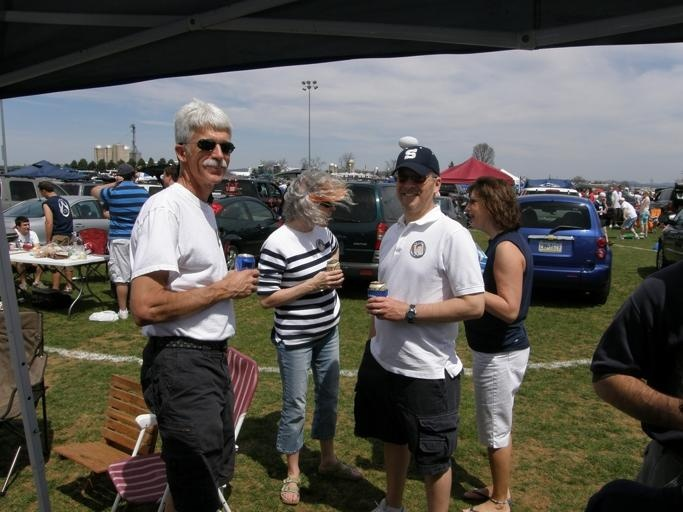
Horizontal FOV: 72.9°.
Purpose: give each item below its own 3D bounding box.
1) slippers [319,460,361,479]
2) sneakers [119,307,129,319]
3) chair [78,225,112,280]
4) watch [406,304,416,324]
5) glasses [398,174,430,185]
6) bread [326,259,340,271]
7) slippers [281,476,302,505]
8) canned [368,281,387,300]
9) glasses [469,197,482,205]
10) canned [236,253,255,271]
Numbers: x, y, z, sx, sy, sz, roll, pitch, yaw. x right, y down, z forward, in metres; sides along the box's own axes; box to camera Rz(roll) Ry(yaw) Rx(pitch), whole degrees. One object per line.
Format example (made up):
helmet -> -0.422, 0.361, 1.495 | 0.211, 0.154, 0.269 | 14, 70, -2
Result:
slippers -> -0.011, 1.680, 3.707 | 0.299, 0.132, 0.148 | 1, 2, 3
sneakers -> -3.465, 0.908, 7.305 | 0.096, 0.092, 0.211 | -1, 6, -16
chair -> -4.998, -0.202, 9.295 | 0.765, 1.296, 0.348 | -1, 4, -28
watch -> 0.413, 0.340, 2.725 | 0.056, 0.102, 0.039 | 2, 10, 11
glasses -> 0.453, -0.471, 2.939 | 0.205, 0.092, 0.128 | -6, 8, -34
bread -> -0.063, 0.064, 3.381 | 0.074, 0.074, 0.075 | -1, -4, 0
slippers -> -0.380, 1.733, 3.396 | 0.101, 0.085, 0.210 | 1, -7, -4
canned -> 0.227, 0.206, 2.841 | 0.119, 0.108, 0.187 | 2, 10, 6
glasses -> 0.982, -0.402, 3.391 | 0.065, 0.037, 0.052 | 17, -16, -40
canned -> -0.556, 0.040, 2.700 | 0.110, 0.107, 0.090 | -2, -8, 18
